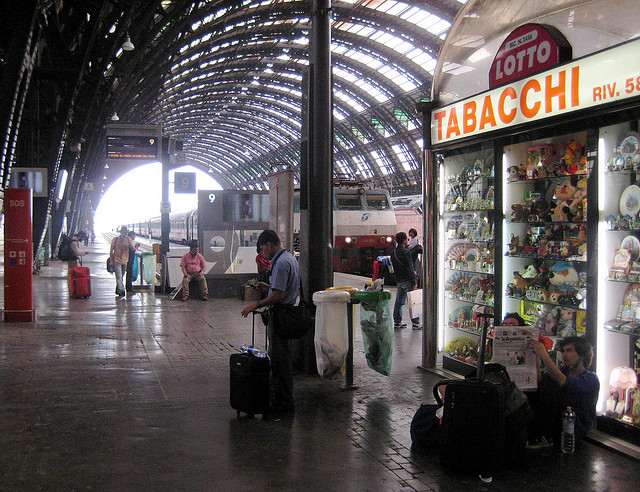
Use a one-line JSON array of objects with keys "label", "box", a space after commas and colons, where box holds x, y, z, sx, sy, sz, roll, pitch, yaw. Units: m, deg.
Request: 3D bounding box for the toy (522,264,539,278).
[{"label": "toy", "box": [2.636, 0.324, 6.377, 0.073, 0.174, 0.122, 17, -13, -36]}]

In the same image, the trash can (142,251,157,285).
[{"label": "trash can", "box": [-5.893, 0.788, 17.789, 0.477, 0.901, 0.616, 2, -1, 3]}]

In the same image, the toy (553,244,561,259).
[{"label": "toy", "box": [2.765, 0.063, 5.964, 0.042, 0.147, 0.117, 2, -1, 1]}]

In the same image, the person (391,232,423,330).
[{"label": "person", "box": [1.704, 0.733, 10.452, 0.513, 2.003, 0.825, 2, -1, 10]}]

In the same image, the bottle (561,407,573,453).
[{"label": "bottle", "box": [2.337, 1.747, 4.834, 0.096, 0.406, 0.108, 1, -1, 23]}]

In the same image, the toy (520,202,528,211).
[{"label": "toy", "box": [2.571, -0.499, 6.457, 0.087, 0.115, 0.111, 2, -1, 18]}]

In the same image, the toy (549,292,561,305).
[{"label": "toy", "box": [2.748, 0.617, 5.992, 0.063, 0.123, 0.130, 3, -2, -42]}]

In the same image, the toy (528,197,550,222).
[{"label": "toy", "box": [2.683, -0.418, 6.226, 0.226, 0.399, 0.306, 1, -1, -4]}]

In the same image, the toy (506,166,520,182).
[{"label": "toy", "box": [2.430, -0.902, 6.467, 0.151, 0.226, 0.163, 5, -7, -30]}]

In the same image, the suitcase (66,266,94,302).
[{"label": "suitcase", "box": [-6.942, 1.092, 14.830, 0.590, 0.968, 0.576, -5, -9, -19]}]

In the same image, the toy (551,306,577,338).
[{"label": "toy", "box": [2.809, 0.887, 5.861, 0.258, 0.503, 0.342, 3, -5, -6]}]

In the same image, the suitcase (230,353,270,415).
[{"label": "suitcase", "box": [-0.786, 1.504, 5.680, 0.506, 0.580, 0.691, 2, 8, -24]}]

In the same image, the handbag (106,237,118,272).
[{"label": "handbag", "box": [-6.113, 0.294, 15.050, 0.268, 0.871, 0.572, 11, -8, -15]}]

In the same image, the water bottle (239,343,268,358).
[{"label": "water bottle", "box": [-0.786, 1.192, 5.855, 0.349, 0.133, 0.216, 13, -1, 37]}]

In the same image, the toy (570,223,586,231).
[{"label": "toy", "box": [2.939, -0.217, 5.841, 0.039, 0.093, 0.208, 2, -1, -12]}]

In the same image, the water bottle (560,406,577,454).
[{"label": "water bottle", "box": [2.350, 1.749, 4.846, 0.119, 0.411, 0.155, 1, -1, 27]}]

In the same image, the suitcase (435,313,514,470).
[{"label": "suitcase", "box": [1.384, 1.308, 4.530, 0.720, 1.339, 0.469, 2, -1, -4]}]

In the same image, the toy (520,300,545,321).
[{"label": "toy", "box": [2.619, 0.803, 6.275, 0.147, 0.269, 0.280, 1, 1, -27]}]

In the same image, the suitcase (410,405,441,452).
[{"label": "suitcase", "box": [1.008, 1.778, 4.903, 0.267, 0.385, 0.367, -8, -15, 39]}]

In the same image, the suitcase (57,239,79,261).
[{"label": "suitcase", "box": [-8.135, 0.126, 16.539, 0.532, 0.622, 0.673, 3, -1, -26]}]

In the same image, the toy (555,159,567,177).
[{"label": "toy", "box": [2.801, -0.906, 5.952, 0.053, 0.169, 0.120, 5, 2, 15]}]

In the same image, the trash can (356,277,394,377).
[{"label": "trash can", "box": [0.763, 1.119, 6.871, 0.566, 1.125, 0.586, 0, 0, -17]}]

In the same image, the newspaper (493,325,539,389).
[{"label": "newspaper", "box": [1.840, 1.052, 4.792, 0.557, 0.774, 0.061, 0, -2, -5]}]

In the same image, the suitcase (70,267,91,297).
[{"label": "suitcase", "box": [-6.911, 1.059, 14.706, 0.563, 0.767, 0.319, 2, -1, -17]}]

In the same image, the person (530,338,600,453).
[{"label": "person", "box": [2.361, 1.429, 4.960, 0.829, 1.034, 0.350, 3, -2, -26]}]

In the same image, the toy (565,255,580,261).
[{"label": "toy", "box": [2.855, 0.132, 5.788, 0.058, 0.060, 0.151, 3, -1, -29]}]

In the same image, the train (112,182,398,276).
[{"label": "train", "box": [-5.850, -1.002, 31.723, 4.065, 4.188, 28.838, 3, -1, -34]}]

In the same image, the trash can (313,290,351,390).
[{"label": "trash can", "box": [0.167, 1.213, 6.745, 0.573, 1.181, 0.549, -1, 1, -14]}]

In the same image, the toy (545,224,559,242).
[{"label": "toy", "box": [2.768, -0.156, 6.090, 0.130, 0.205, 0.057, 1, -1, 24]}]

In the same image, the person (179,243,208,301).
[{"label": "person", "box": [-3.707, 0.768, 15.132, 0.819, 1.215, 0.557, 3, -1, -20]}]

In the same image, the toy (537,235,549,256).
[{"label": "toy", "box": [2.683, -0.003, 6.134, 0.064, 0.244, 0.173, 2, -1, -14]}]
